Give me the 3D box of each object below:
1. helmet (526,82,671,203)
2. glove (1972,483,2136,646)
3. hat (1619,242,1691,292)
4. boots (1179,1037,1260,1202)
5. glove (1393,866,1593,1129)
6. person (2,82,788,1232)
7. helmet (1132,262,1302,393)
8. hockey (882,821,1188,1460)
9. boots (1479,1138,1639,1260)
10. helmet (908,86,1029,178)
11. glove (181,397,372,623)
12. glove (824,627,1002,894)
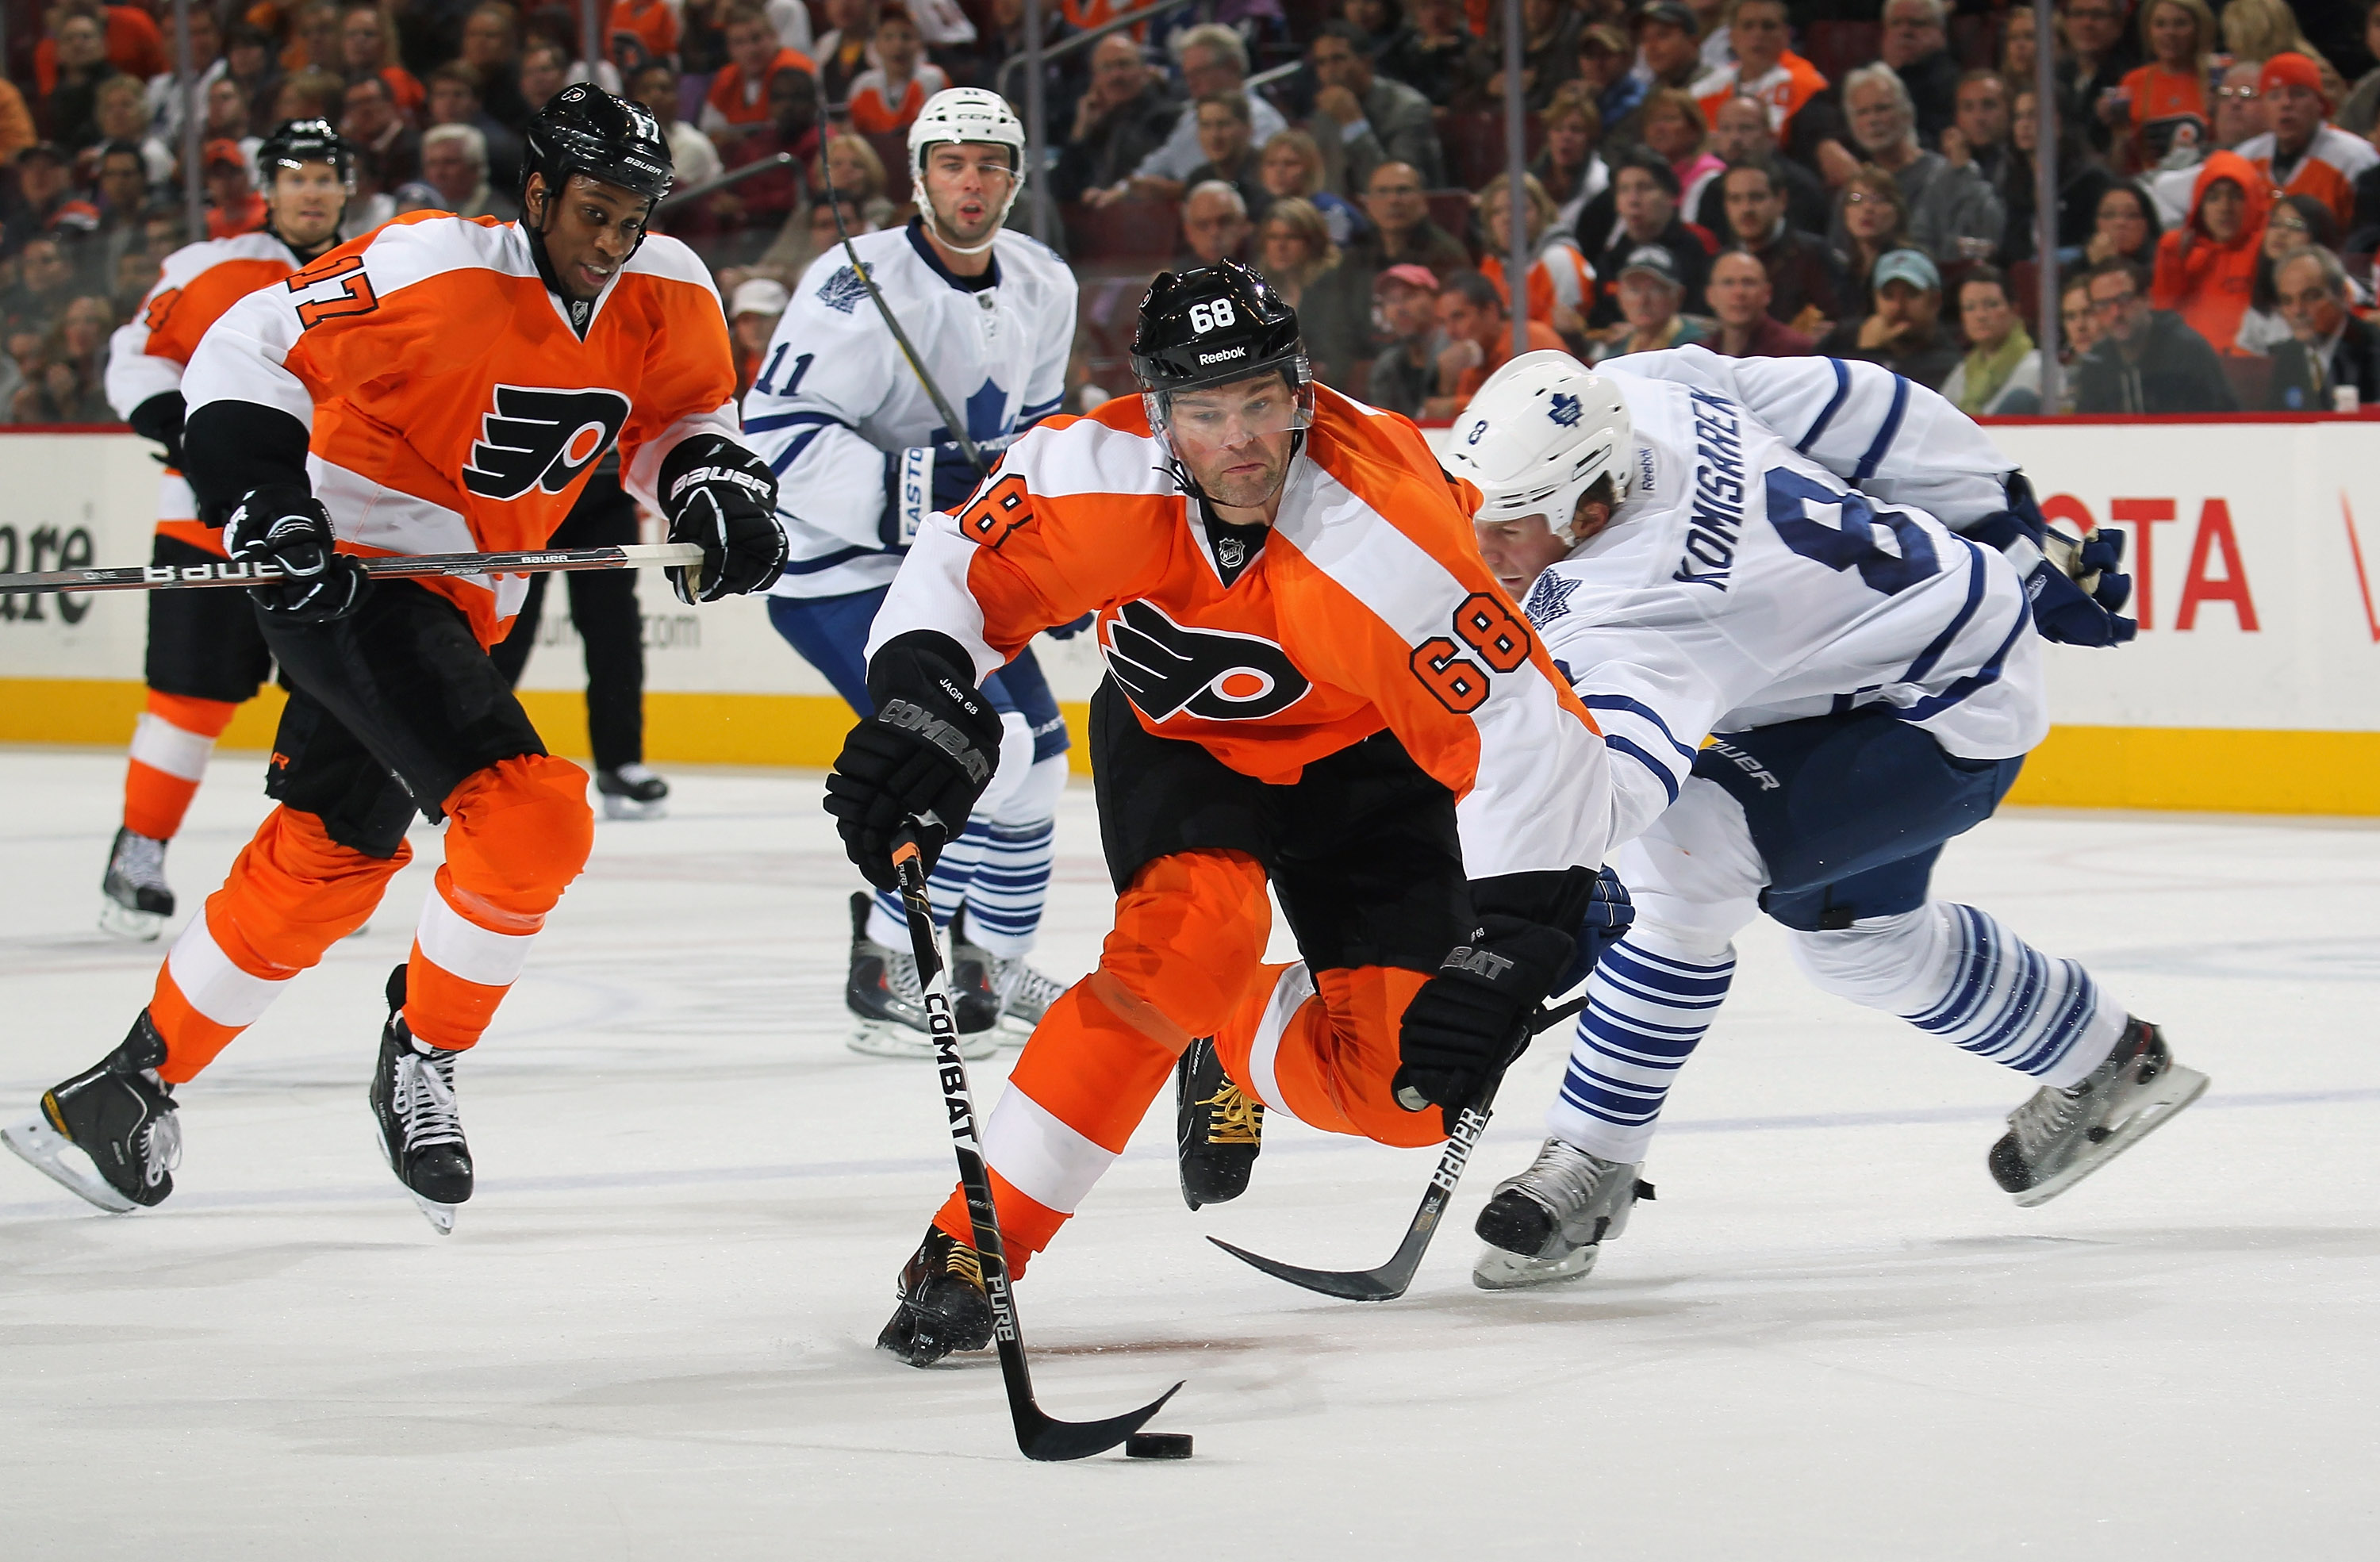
[{"bbox_3d":[-1.042,-1.116,4.879,0.251,0.209,0.191,16,14,13],"label":"helmet"},{"bbox_3d":[1.593,-0.453,5.090,0.197,0.372,0.384,-5,21,-3],"label":"glove"},{"bbox_3d":[1.534,-1.688,9.077,0.262,0.163,0.050,5,12,32],"label":"hat"},{"bbox_3d":[0.030,0.590,4.750,0.114,0.308,0.131,-8,14,-21],"label":"boots"},{"bbox_3d":[0.493,0.318,4.121,0.164,0.394,0.252,37,-13,-34],"label":"glove"},{"bbox_3d":[-1.365,-0.223,4.854,1.325,1.966,0.597,-4,11,-12],"label":"person"},{"bbox_3d":[0.037,-0.679,4.115,0.183,0.182,0.229,-13,-1,-3],"label":"helmet"},{"bbox_3d":[-0.218,0.501,4.014,0.329,0.823,0.588,-4,11,-15],"label":"hockey"},{"bbox_3d":[0.634,0.697,4.639,0.140,0.165,0.415,23,16,39],"label":"boots"},{"bbox_3d":[-0.506,-1.482,6.387,0.205,0.236,0.222,2,55,-6],"label":"helmet"},{"bbox_3d":[-1.573,-0.473,4.764,0.250,0.370,0.332,-6,11,-22],"label":"glove"},{"bbox_3d":[-0.417,-0.027,4.120,0.236,0.375,0.141,30,-5,-7],"label":"glove"}]
